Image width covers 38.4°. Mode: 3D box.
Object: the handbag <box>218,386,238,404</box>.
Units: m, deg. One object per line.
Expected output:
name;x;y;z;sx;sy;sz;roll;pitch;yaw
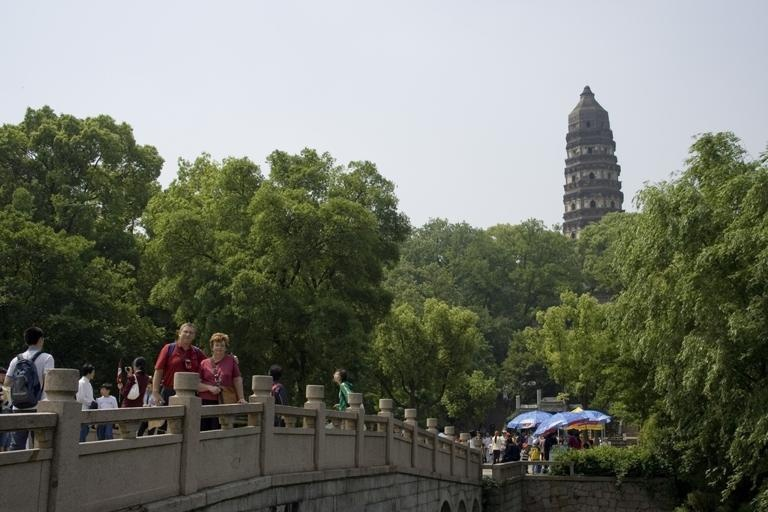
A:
handbag;-3.810;3.440;27.080;0.466;0.604;0.345;3;-15;-23
